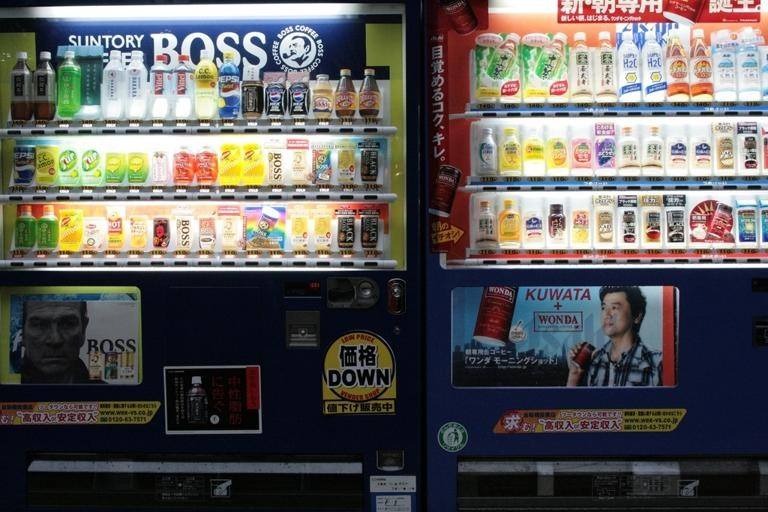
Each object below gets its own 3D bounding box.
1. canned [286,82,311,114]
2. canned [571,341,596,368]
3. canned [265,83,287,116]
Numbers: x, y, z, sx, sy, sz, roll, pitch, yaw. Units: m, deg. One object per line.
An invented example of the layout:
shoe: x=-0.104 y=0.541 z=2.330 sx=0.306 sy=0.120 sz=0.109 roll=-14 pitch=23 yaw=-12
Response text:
canned: x=-0.529 y=-0.961 z=6.264 sx=0.134 sy=0.207 sz=0.082 roll=0 pitch=4 yaw=-6
canned: x=1.213 y=0.622 z=6.299 sx=0.098 sy=0.150 sz=0.092 roll=36 pitch=-11 yaw=-8
canned: x=-0.668 y=-0.958 z=6.258 sx=0.128 sy=0.202 sz=0.084 roll=0 pitch=4 yaw=-7
